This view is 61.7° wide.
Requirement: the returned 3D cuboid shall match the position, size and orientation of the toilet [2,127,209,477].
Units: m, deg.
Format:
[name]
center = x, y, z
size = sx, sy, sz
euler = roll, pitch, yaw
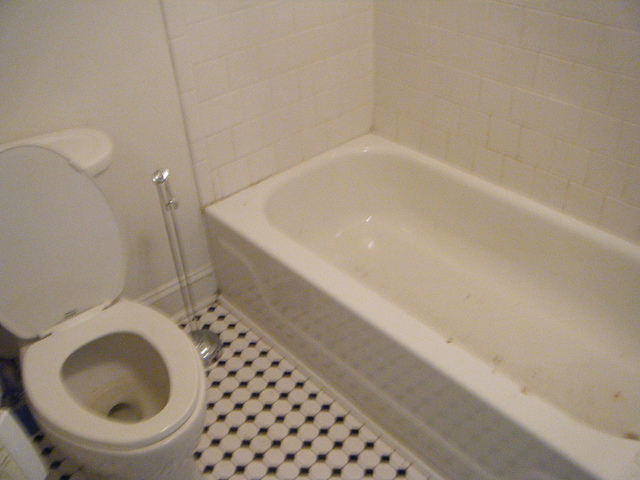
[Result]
[toilet]
center = -0.698, 0.250, 1.615
size = 0.499, 0.857, 0.804
euler = -22, 50, -16
